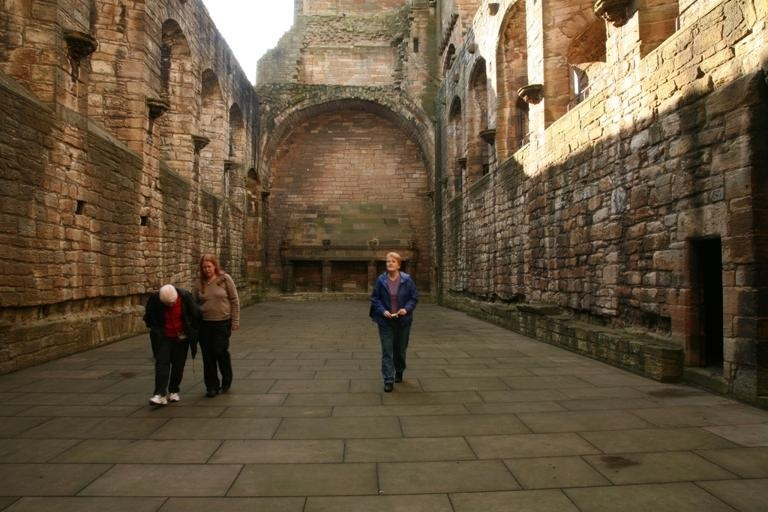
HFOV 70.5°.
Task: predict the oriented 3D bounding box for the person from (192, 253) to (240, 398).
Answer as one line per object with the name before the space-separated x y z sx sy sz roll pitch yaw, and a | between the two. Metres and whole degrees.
person | -2.165 0.884 7.120 0.506 1.806 0.677 -4 12 -18

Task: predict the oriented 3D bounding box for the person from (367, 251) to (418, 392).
person | 0.126 0.867 7.385 0.618 1.855 0.820 0 11 2

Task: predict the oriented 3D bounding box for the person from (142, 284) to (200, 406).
person | -2.612 1.084 6.739 0.675 1.489 0.503 -6 12 -27

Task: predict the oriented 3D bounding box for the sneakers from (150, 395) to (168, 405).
sneakers | -2.715 1.729 6.548 0.100 0.104 0.244 0 -16 5

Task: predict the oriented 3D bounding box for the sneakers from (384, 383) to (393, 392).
sneakers | 0.060 1.716 7.194 0.140 0.109 0.189 0 10 -1
